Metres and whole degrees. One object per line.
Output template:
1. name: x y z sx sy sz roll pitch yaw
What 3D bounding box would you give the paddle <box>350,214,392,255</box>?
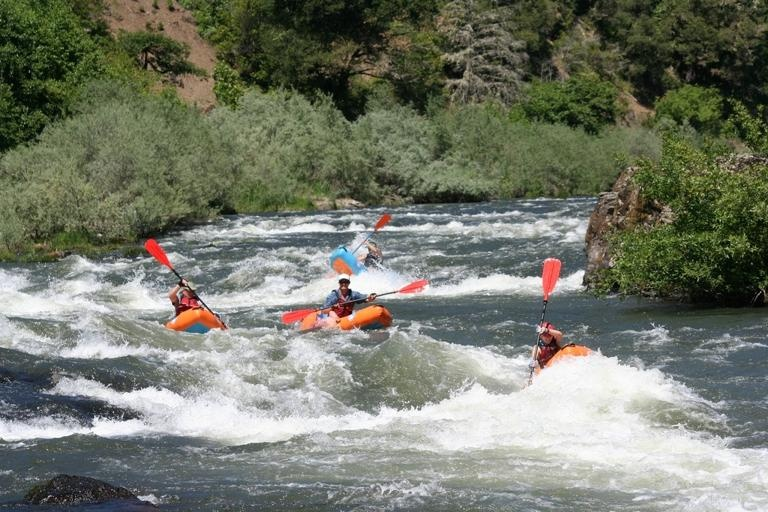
1. paddle: -0.509 -0.853 56.930 0.396 2.815 0.192 47 18 -1

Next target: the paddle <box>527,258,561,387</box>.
1. paddle: 5.173 1.958 45.118 1.132 4.268 1.023 7 -3 -24

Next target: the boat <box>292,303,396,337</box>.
1. boat: -1.186 1.988 46.551 2.900 0.709 0.603 -1 19 -6

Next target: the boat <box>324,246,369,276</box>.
1. boat: -1.276 0.081 51.758 0.964 1.198 0.422 -40 7 44
